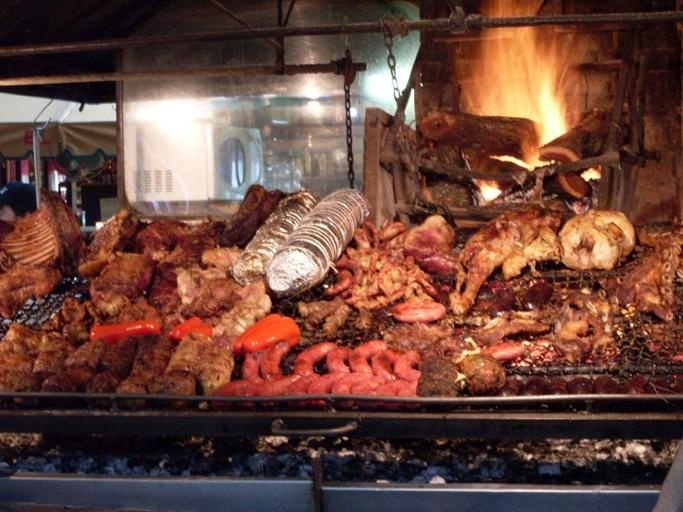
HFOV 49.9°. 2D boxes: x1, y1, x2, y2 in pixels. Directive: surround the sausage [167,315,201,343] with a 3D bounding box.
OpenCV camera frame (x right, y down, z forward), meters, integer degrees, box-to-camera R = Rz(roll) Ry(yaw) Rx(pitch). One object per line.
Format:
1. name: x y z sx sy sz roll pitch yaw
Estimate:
1. sausage: -1.637 0.767 7.696 0.348 0.207 0.184 -3 9 -16
